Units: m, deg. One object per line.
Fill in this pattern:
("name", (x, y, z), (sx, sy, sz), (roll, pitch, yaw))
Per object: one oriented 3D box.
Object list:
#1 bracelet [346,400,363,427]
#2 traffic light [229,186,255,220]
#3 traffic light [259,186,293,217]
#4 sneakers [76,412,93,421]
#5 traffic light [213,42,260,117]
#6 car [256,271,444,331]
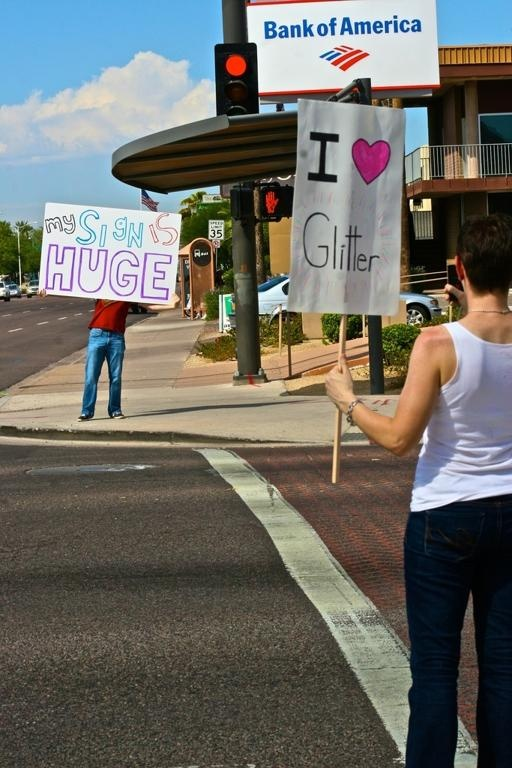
("bracelet", (0.269, 0.081, 2.022), (0.023, 0.078, 0.079), (-2, -6, 8))
("traffic light", (-0.270, -3.604, 14.524), (0.443, 0.712, 0.329), (-2, 3, -3))
("traffic light", (0.364, -3.513, 14.106), (0.629, 0.768, 0.494), (-2, 3, 2))
("sneakers", (-2.650, 0.524, 11.451), (0.088, 0.102, 0.242), (-1, -8, 18))
("traffic light", (-0.283, -4.463, 10.803), (0.614, 1.020, 0.303), (-2, 3, -4))
("car", (3.398, -2.588, 23.297), (5.929, 2.147, 2.725), (-3, 6, -8))
